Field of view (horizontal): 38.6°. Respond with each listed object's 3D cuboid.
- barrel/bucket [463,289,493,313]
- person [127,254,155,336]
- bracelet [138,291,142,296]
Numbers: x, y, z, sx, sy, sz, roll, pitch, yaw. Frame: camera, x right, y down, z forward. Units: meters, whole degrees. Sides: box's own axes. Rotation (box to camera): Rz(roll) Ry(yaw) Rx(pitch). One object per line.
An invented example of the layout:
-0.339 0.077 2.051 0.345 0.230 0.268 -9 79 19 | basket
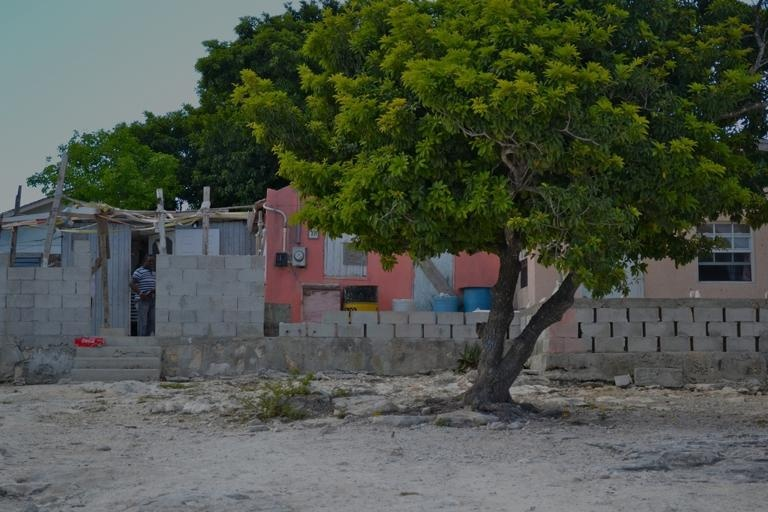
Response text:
2.396 1.260 28.055 0.634 0.647 0.653 1 -30 1 | barrel/bucket
-5.748 0.990 26.126 0.593 1.899 0.997 -3 9 -13 | person
-5.779 0.914 25.979 0.101 0.106 0.035 0 -12 3 | bracelet
